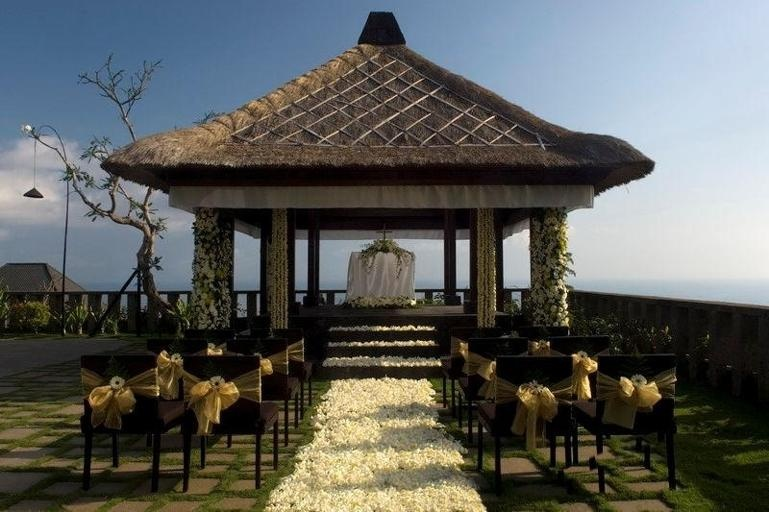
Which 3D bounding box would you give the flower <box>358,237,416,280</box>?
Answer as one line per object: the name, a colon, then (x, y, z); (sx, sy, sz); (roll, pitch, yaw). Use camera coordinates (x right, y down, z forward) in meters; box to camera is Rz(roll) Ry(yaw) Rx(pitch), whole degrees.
flower: (0.140, 0.026, 15.430); (0.903, 0.647, 0.956); (2, -5, 14)
